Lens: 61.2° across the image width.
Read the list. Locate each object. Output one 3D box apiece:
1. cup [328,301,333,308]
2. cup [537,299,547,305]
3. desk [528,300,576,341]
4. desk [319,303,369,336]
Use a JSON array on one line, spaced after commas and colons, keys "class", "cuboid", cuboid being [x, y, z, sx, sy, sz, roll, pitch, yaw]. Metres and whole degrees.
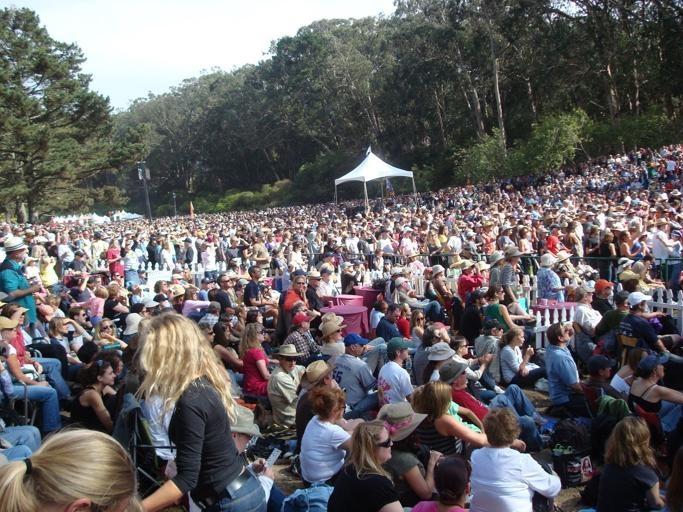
[{"class": "cup", "cuboid": [-0.221, 0.998, 12.038, 0.093, 0.107, 0.095, 0, -1, 0]}, {"class": "cup", "cuboid": [3.773, 0.884, 10.775, 0.159, 0.118, 0.134, -4, 8, -18]}, {"class": "desk", "cuboid": [3.748, 1.173, 10.142, 0.728, 0.530, 1.202, -5, 2, 22]}, {"class": "desk", "cuboid": [0.170, 1.258, 10.892, 0.454, 0.534, 1.080, -4, 2, 41]}]
